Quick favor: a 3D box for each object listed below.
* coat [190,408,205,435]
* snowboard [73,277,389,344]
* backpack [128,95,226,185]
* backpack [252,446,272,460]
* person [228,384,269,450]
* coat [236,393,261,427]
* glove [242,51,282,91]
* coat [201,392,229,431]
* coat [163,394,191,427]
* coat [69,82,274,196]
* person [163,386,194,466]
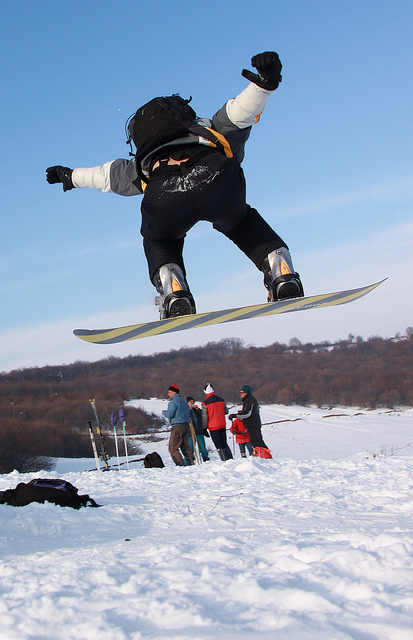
[{"bbox_3d":[-0.135,1.574,9.248,0.325,0.366,0.141,-4,-7,-14],"label":"coat"},{"bbox_3d":[0.103,-0.035,4.281,2.365,0.244,0.335,-7,10,-1],"label":"snowboard"},{"bbox_3d":[-0.230,-1.152,3.673,0.682,0.509,0.264,-11,0,28],"label":"backpack"},{"bbox_3d":[0.749,1.793,8.125,0.253,0.170,0.333,5,-8,-30],"label":"backpack"},{"bbox_3d":[0.570,1.407,8.205,0.413,0.986,0.372,-10,-2,20],"label":"person"},{"bbox_3d":[0.595,1.209,8.008,0.402,0.513,0.412,-2,-6,14],"label":"coat"},{"bbox_3d":[0.303,-1.316,3.183,0.198,0.206,0.138,-12,0,29],"label":"glove"},{"bbox_3d":[0.109,1.364,8.913,0.382,0.560,0.492,-12,0,-8],"label":"coat"},{"bbox_3d":[-0.382,1.172,7.923,0.423,0.410,0.379,-1,-2,-36],"label":"coat"},{"bbox_3d":[-0.235,-1.063,3.873,1.757,0.589,0.444,-11,1,42],"label":"coat"},{"bbox_3d":[-0.367,1.446,8.009,0.387,1.091,0.729,-13,0,-4],"label":"person"}]
